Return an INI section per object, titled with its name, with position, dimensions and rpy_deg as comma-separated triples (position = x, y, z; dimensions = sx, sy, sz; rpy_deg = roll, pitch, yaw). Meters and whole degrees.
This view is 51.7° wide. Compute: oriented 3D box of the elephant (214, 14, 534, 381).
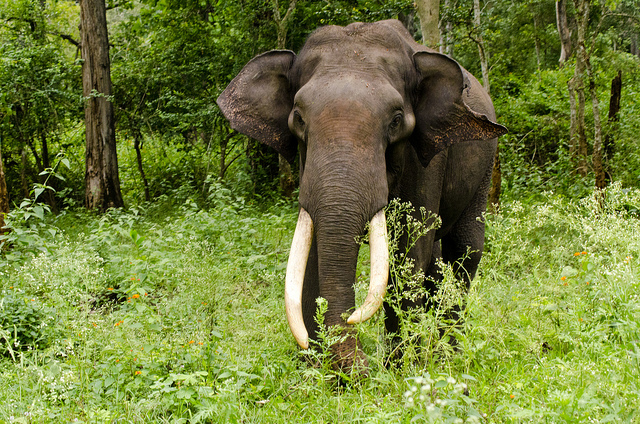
[elephant]
position = 0.683, -0.174, 6.474
dimensions = 2.486, 3.491, 2.084
rpy_deg = -7, 11, -17
